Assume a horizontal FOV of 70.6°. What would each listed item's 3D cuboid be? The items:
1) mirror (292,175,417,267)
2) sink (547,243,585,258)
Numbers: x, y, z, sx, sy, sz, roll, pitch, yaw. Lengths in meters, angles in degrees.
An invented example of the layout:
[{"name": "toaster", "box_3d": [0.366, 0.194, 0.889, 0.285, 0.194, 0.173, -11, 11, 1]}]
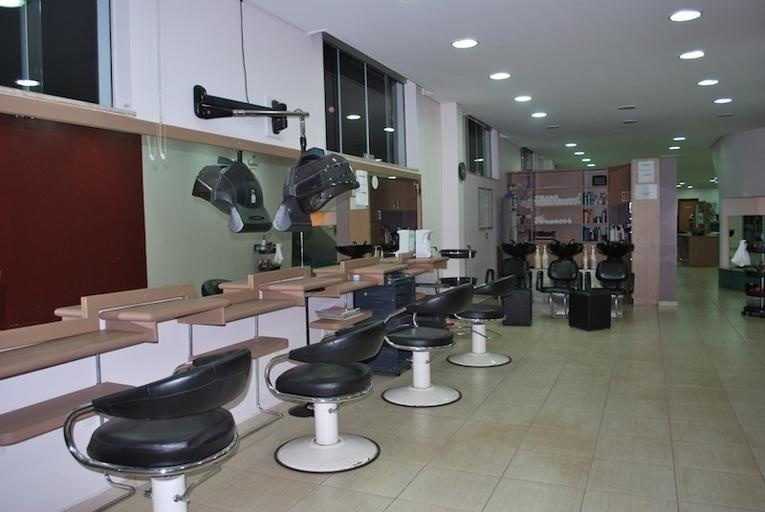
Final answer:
[{"name": "mirror", "box_3d": [-0.337, -0.445, 5.899, 0.094, 0.874, 2.259, 8, 7, 27]}, {"name": "sink", "box_3d": [3.129, -0.103, 9.343, 0.351, 0.173, 0.393, 0, -1, 5]}]
